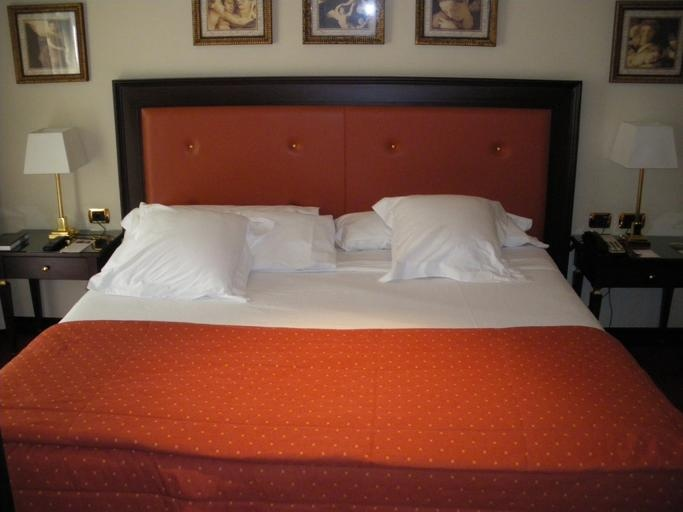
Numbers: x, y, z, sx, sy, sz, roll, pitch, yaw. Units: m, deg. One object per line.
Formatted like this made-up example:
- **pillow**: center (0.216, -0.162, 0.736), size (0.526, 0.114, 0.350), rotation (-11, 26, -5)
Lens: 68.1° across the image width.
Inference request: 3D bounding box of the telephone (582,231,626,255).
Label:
- **telephone**: center (1.587, -0.088, 3.070), size (0.133, 0.082, 0.190), rotation (3, 30, 7)

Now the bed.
- **bed**: center (0.053, 0.964, 4.376), size (4.311, 3.123, 1.452), rotation (-1, 23, 0)

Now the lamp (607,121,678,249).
- **lamp**: center (1.832, -0.453, 3.115), size (0.340, 0.716, 0.361), rotation (3, 14, 14)

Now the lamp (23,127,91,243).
- **lamp**: center (-1.803, -0.469, 3.230), size (0.340, 0.680, 0.336), rotation (-1, 13, -5)
